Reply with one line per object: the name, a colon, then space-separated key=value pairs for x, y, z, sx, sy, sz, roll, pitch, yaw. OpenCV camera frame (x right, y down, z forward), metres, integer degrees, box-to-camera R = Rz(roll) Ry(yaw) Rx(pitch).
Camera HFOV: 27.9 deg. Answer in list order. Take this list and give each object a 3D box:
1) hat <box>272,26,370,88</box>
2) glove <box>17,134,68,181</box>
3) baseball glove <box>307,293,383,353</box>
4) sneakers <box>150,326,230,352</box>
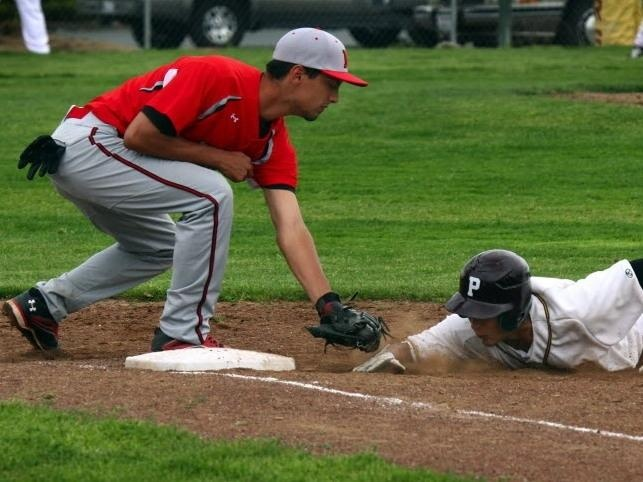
hat: x=0.017 y=-1.144 z=8.114 sx=0.586 sy=0.248 sz=0.326 roll=9 pitch=8 yaw=2
glove: x=-1.745 y=-0.525 z=8.132 sx=0.248 sy=0.301 sz=0.090 roll=37 pitch=-6 yaw=-11
baseball glove: x=0.149 y=0.487 z=8.147 sx=0.350 sy=0.309 sz=0.678 roll=17 pitch=-7 yaw=-27
sneakers: x=-0.820 y=0.622 z=8.149 sx=0.521 sy=0.175 sz=0.157 roll=2 pitch=1 yaw=-9
